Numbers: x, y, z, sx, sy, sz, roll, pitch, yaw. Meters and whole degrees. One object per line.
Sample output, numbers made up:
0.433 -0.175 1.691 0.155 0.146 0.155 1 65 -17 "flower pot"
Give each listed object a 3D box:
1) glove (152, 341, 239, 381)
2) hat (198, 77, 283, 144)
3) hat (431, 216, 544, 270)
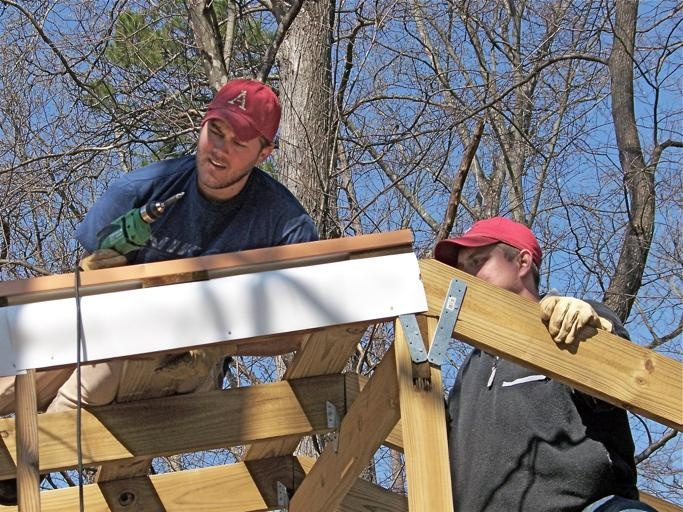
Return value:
-1.208 0.732 12.077 0.438 0.127 0.446 -15 -21 -10 "glove"
-0.800 -1.146 12.154 0.470 0.552 0.488 7 5 35 "hat"
1.168 -0.092 12.135 0.842 0.469 0.606 14 -17 1 "hat"
